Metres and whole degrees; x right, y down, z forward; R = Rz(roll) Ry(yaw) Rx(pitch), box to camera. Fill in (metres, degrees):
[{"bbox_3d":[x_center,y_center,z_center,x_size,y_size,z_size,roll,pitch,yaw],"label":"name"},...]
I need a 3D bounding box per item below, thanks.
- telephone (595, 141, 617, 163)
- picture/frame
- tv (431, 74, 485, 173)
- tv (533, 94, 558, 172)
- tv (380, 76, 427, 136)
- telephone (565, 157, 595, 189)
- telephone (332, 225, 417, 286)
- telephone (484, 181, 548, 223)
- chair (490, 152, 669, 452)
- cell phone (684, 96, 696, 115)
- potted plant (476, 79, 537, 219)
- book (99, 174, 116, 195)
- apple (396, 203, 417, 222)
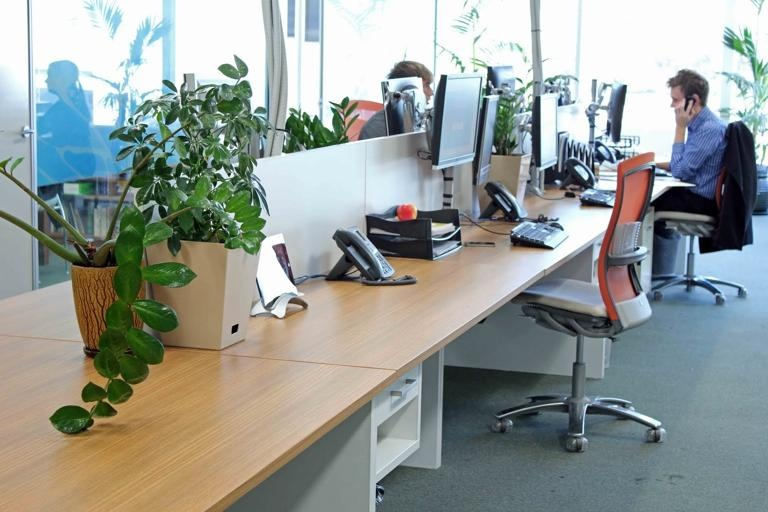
[{"bbox_3d":[2.387,-1.126,5.890,0.217,0.110,0.287,27,14,-3],"label":"telephone"},{"bbox_3d":[-0.404,0.080,2.102,0.167,0.256,0.223,12,17,20],"label":"picture/frame"},{"bbox_3d":[0.462,-0.834,3.403,0.076,0.471,0.658,6,10,21],"label":"tv"},{"bbox_3d":[1.266,-0.986,4.285,0.067,0.455,0.639,1,8,21],"label":"tv"},{"bbox_3d":[0.071,-0.964,3.441,0.095,0.367,0.419,-1,3,41],"label":"tv"},{"bbox_3d":[1.654,-0.719,4.732,0.300,0.303,0.225,-6,18,13],"label":"telephone"},{"bbox_3d":[-0.036,-0.001,2.492,0.419,0.231,0.325,5,6,17],"label":"telephone"},{"bbox_3d":[0.878,-0.365,3.689,0.502,0.225,0.381,11,7,33],"label":"telephone"},{"bbox_3d":[1.107,0.219,3.037,0.923,1.435,0.936,-3,4,-34],"label":"chair"},{"bbox_3d":[2.995,-1.474,5.311,0.037,0.135,0.097,13,-5,-18],"label":"cell phone"},{"bbox_3d":[0.859,-0.792,3.979,0.461,0.725,0.421,11,16,30],"label":"potted plant"},{"bbox_3d":[-2.131,-0.555,4.164,0.076,0.150,0.160,2,7,22],"label":"book"},{"bbox_3d":[0.135,-0.232,2.943,0.104,0.102,0.100,-17,15,-24],"label":"apple"}]
